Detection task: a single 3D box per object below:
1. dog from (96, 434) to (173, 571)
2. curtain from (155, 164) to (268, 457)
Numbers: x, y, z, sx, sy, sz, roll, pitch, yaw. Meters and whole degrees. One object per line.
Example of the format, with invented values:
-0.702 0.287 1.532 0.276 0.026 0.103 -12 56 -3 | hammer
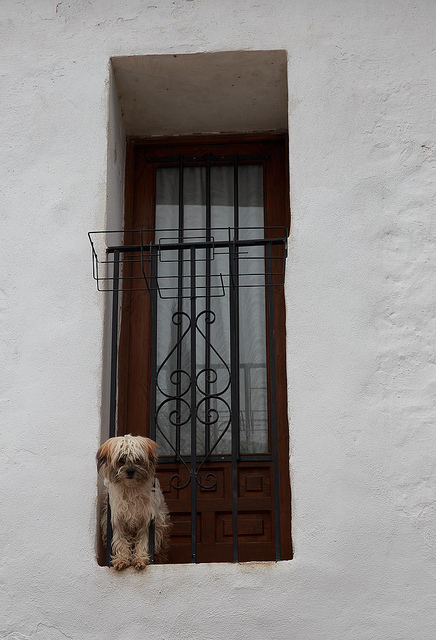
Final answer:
-0.395 0.813 4.747 0.307 0.586 0.395 1 -7 2 | dog
-0.049 -0.099 5.693 0.610 1.669 0.544 1 -7 -5 | curtain
